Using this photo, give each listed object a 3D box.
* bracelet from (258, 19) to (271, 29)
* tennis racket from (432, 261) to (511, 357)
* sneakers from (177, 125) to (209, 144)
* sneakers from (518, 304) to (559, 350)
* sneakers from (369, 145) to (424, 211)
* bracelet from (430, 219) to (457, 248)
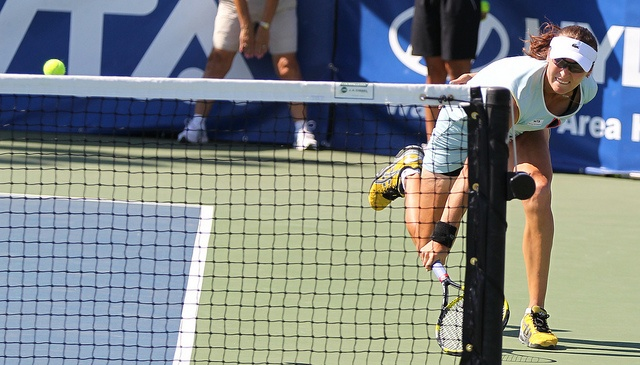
[{"bbox_3d":[-0.626,-1.841,9.665,0.087,0.069,0.089,0,5,-18],"label":"bracelet"},{"bbox_3d":[1.161,0.948,7.034,0.603,0.118,1.549,-24,14,2],"label":"tennis racket"},{"bbox_3d":[-1.471,-0.540,9.762,0.235,0.189,0.381,3,-2,28],"label":"sneakers"},{"bbox_3d":[1.850,1.204,6.919,0.309,0.258,0.242,11,29,15],"label":"sneakers"},{"bbox_3d":[0.766,-0.027,8.078,0.233,0.661,0.296,28,24,-35],"label":"sneakers"},{"bbox_3d":[1.062,0.429,7.061,0.204,0.168,0.202,26,2,4],"label":"bracelet"}]
